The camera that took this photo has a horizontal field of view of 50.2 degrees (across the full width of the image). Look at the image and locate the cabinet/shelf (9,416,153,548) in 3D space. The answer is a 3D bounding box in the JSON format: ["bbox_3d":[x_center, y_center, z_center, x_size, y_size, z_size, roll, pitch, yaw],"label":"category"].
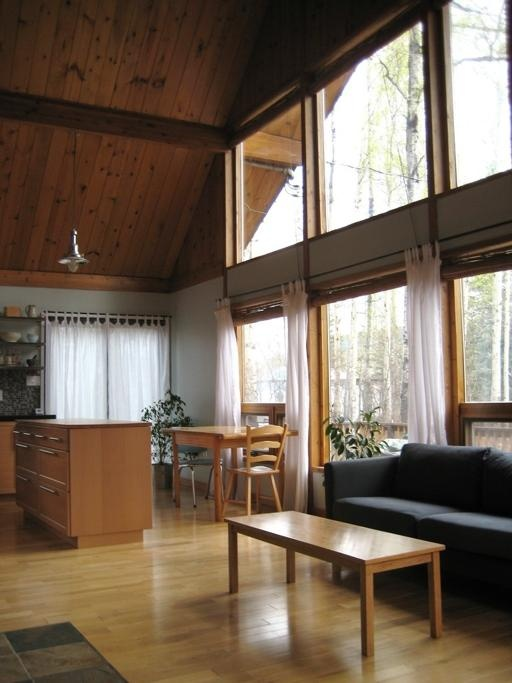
[{"bbox_3d":[-1.443,1.031,4.297,0.599,0.862,1.098,1,-3,-42],"label":"cabinet/shelf"}]

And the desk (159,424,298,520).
[{"bbox_3d":[-0.401,1.184,5.290,0.642,0.767,0.895,-2,2,-39],"label":"desk"}]

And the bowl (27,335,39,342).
[{"bbox_3d":[-2.926,-0.034,7.182,0.091,0.078,0.097,0,-6,0],"label":"bowl"}]

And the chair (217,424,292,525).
[{"bbox_3d":[-0.012,1.168,4.945,0.404,0.845,0.510,3,-5,-27],"label":"chair"}]

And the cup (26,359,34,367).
[{"bbox_3d":[-2.952,0.271,7.149,0.082,0.074,0.085,0,-5,0],"label":"cup"}]

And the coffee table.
[{"bbox_3d":[0.320,1.008,2.412,0.486,0.346,0.996,4,-10,-32],"label":"coffee table"}]
